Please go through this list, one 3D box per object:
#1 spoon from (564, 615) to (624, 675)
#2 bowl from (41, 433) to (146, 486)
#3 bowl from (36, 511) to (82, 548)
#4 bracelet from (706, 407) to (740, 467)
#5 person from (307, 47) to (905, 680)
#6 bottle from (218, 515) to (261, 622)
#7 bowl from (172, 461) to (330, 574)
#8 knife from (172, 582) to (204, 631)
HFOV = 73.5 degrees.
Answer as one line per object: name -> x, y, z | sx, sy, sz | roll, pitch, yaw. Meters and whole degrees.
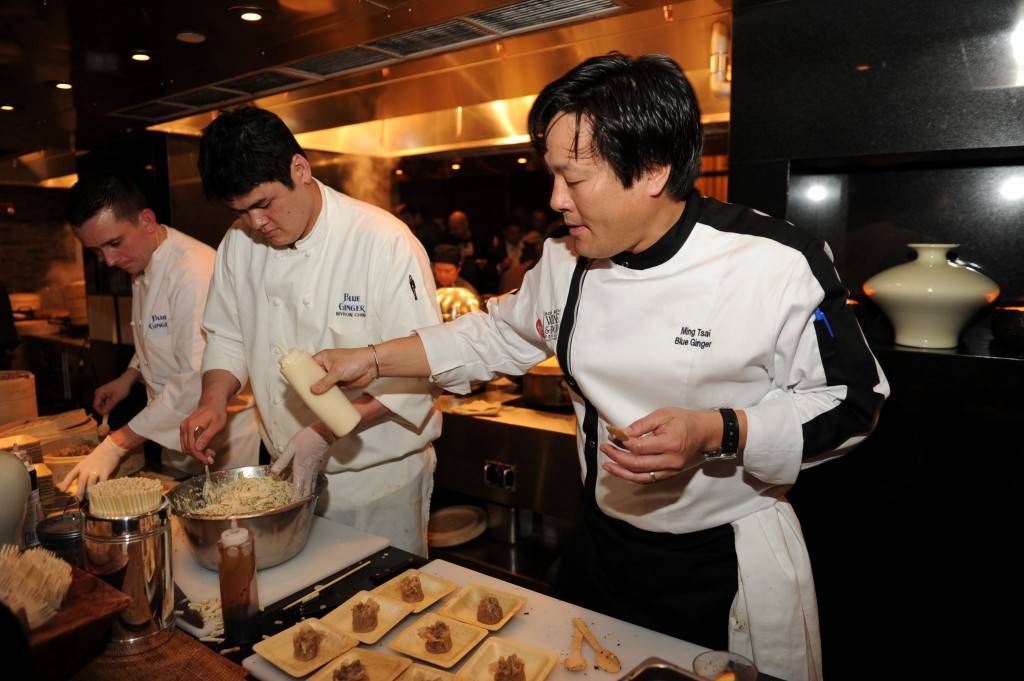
spoon -> 0.201, 0.748, 1.692 | 0.138, 0.064, 0.148 | -2, 12, 8
bowl -> -1.698, 0.467, 2.714 | 0.292, 0.098, 0.302 | 2, 8, 0
bowl -> -1.277, 0.532, 1.938 | 0.103, 0.065, 0.167 | -12, 15, -36
bracelet -> 0.549, 0.243, 1.735 | 0.081, 0.122, 0.129 | 4, 1, -1
person -> 0.328, 0.129, 1.893 | 1.206, 1.740, 0.565 | 3, 14, 30
bottle -> -0.702, 0.600, 1.754 | 0.102, 0.215, 0.098 | -4, 12, 1
bowl -> -0.729, 0.499, 2.011 | 0.325, 0.136, 0.313 | 1, 1, 0
knife -> -0.876, 0.718, 1.840 | 0.155, 0.057, 0.049 | 11, 7, 39
